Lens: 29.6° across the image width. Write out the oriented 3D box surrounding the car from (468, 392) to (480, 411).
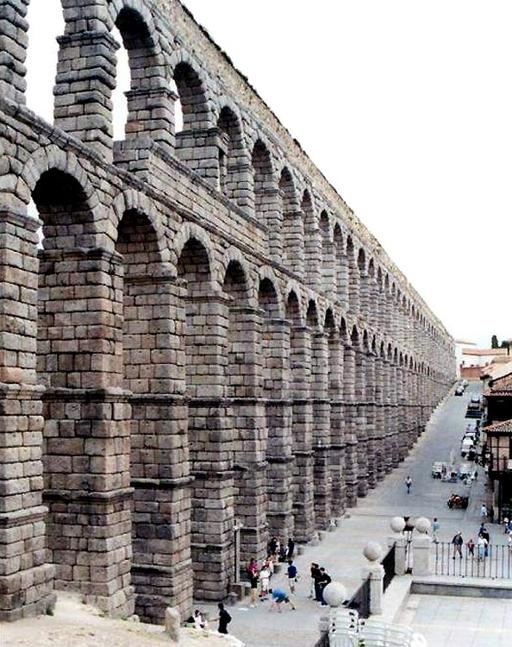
[{"bbox_3d":[20.233,7.287,89.864,1.099,1.122,2.280,-4,-3,16],"label":"car"}]
